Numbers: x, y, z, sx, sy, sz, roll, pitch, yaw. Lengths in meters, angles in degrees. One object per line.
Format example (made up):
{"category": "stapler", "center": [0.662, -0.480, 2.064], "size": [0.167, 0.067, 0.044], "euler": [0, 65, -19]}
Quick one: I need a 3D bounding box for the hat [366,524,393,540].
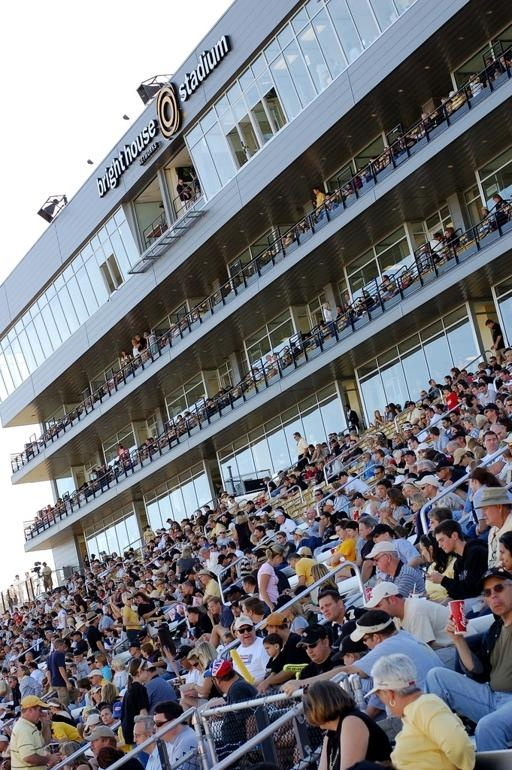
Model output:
{"category": "hat", "center": [1.048, 1.254, 7.306], "size": [0.166, 0.157, 0.122], "euler": [-2, -14, 0]}

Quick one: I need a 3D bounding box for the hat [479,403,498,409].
{"category": "hat", "center": [3.798, 0.356, 14.075], "size": [0.213, 0.091, 0.159], "euler": [-2, -2, -9]}

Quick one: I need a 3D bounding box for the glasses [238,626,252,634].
{"category": "glasses", "center": [-0.096, 2.184, 7.666], "size": [0.126, 0.063, 0.072], "euler": [-19, -7, -8]}

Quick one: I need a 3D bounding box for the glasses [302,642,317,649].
{"category": "glasses", "center": [0.352, 1.783, 5.871], "size": [0.042, 0.049, 0.104], "euler": [-15, -8, -42]}

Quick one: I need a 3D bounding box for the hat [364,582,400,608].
{"category": "hat", "center": [0.754, 1.251, 5.202], "size": [0.207, 0.108, 0.126], "euler": [-21, 3, -8]}

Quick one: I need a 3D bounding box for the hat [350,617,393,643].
{"category": "hat", "center": [0.622, 1.351, 4.735], "size": [0.207, 0.058, 0.138], "euler": [-20, -7, 14]}

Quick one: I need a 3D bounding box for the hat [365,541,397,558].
{"category": "hat", "center": [0.923, 1.225, 6.371], "size": [0.201, 0.091, 0.124], "euler": [-4, -16, -10]}

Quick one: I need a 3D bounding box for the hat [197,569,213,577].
{"category": "hat", "center": [-0.792, 2.962, 13.587], "size": [0.265, 0.090, 0.260], "euler": [5, -22, 9]}

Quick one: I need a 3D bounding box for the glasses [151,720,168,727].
{"category": "glasses", "center": [-0.740, 2.610, 6.616], "size": [0.109, 0.029, 0.099], "euler": [8, -24, -15]}

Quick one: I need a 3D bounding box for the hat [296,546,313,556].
{"category": "hat", "center": [0.583, 2.011, 10.320], "size": [0.126, 0.113, 0.339], "euler": [-20, -7, -2]}

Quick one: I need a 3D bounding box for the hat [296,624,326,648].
{"category": "hat", "center": [0.396, 1.726, 5.922], "size": [0.123, 0.087, 0.178], "euler": [-16, -13, 19]}

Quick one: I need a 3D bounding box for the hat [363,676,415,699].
{"category": "hat", "center": [0.576, 1.325, 3.781], "size": [0.110, 0.069, 0.254], "euler": [-14, -8, -40]}

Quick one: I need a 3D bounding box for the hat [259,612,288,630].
{"category": "hat", "center": [0.154, 1.942, 7.112], "size": [0.162, 0.108, 0.247], "euler": [-19, -7, -11]}
